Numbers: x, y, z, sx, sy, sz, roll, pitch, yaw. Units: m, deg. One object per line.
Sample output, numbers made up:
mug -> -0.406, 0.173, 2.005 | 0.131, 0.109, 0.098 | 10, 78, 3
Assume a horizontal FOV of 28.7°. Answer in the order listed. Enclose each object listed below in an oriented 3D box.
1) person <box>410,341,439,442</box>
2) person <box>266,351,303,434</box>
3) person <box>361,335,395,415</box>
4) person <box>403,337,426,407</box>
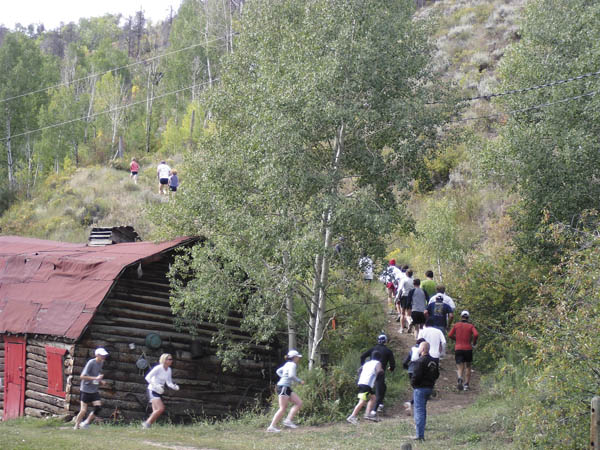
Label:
person -> 4.991, 6.811, 47.799 | 1.126, 4.038, 1.413 | 0, -4, 29
person -> -0.583, 7.083, 49.146 | 1.312, 3.231, 1.125 | 1, -8, 12
person -> 3.285, 6.422, 50.224 | 1.476, 3.659, 1.156 | 3, 2, -4
person -> 4.960, 6.294, 49.363 | 1.076, 3.247, 0.834 | 4, 5, -26
